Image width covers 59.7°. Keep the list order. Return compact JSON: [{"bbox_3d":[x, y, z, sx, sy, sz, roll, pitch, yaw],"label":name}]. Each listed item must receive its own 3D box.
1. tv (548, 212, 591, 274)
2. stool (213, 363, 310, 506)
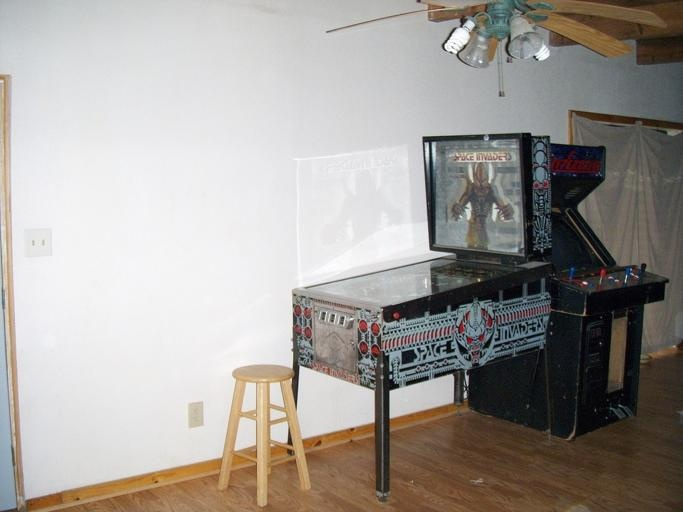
[{"bbox_3d":[1.613,-0.107,4.168,0.280,0.368,0.364,3,11,19],"label":"tv"},{"bbox_3d":[-0.438,0.983,3.492,0.582,0.686,0.537,6,12,34],"label":"stool"}]
